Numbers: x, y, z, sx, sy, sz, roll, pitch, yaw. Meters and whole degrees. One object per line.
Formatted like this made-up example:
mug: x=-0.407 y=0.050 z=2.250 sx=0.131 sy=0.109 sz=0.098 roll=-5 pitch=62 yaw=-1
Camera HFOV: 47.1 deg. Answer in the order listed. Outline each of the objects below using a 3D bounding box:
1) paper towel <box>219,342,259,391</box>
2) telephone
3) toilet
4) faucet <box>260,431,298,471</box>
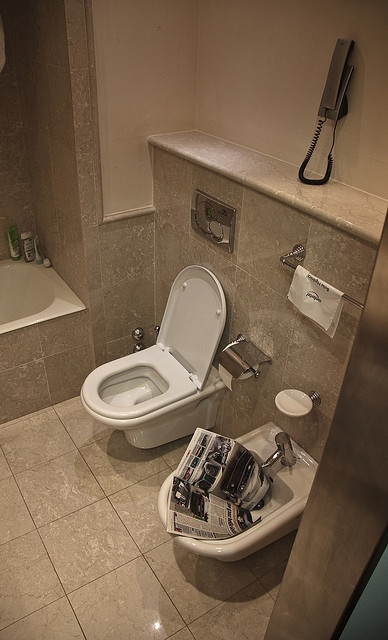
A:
paper towel: x=0.176 y=0.197 z=1.801 sx=0.168 sy=0.221 sz=0.091 roll=14 pitch=26 yaw=13
telephone: x=0.408 y=-0.628 z=1.384 sx=0.143 sy=0.408 sz=0.133 roll=27 pitch=32 yaw=36
toilet: x=-0.175 y=0.207 z=2.016 sx=0.641 sy=0.834 sz=0.432 roll=-22 pitch=42 yaw=-38
faucet: x=0.308 y=0.481 z=1.621 sx=0.087 sy=0.123 sz=0.038 roll=-42 pitch=52 yaw=-20
